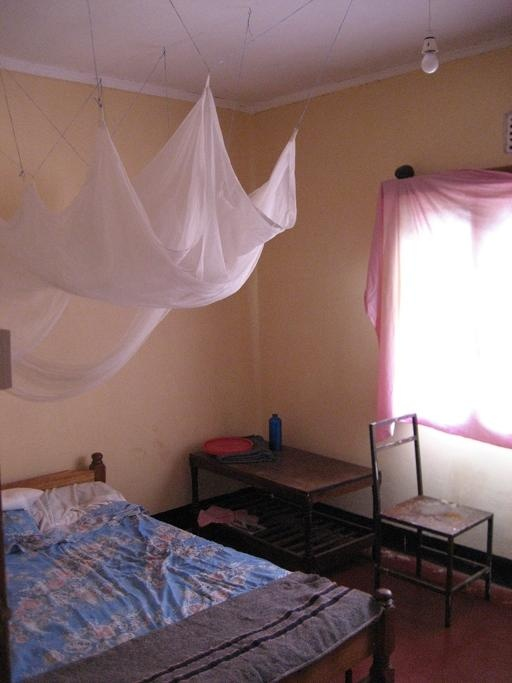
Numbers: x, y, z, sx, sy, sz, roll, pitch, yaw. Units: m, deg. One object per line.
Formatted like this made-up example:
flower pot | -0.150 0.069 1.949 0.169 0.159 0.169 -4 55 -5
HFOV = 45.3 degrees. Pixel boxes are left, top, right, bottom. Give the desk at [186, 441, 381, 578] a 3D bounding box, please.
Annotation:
desk | 0.252 0.934 3.559 0.524 0.456 0.944 -5 8 -42

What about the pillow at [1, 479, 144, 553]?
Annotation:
pillow | -0.967 0.861 3.051 0.349 0.092 0.347 -4 11 -44
